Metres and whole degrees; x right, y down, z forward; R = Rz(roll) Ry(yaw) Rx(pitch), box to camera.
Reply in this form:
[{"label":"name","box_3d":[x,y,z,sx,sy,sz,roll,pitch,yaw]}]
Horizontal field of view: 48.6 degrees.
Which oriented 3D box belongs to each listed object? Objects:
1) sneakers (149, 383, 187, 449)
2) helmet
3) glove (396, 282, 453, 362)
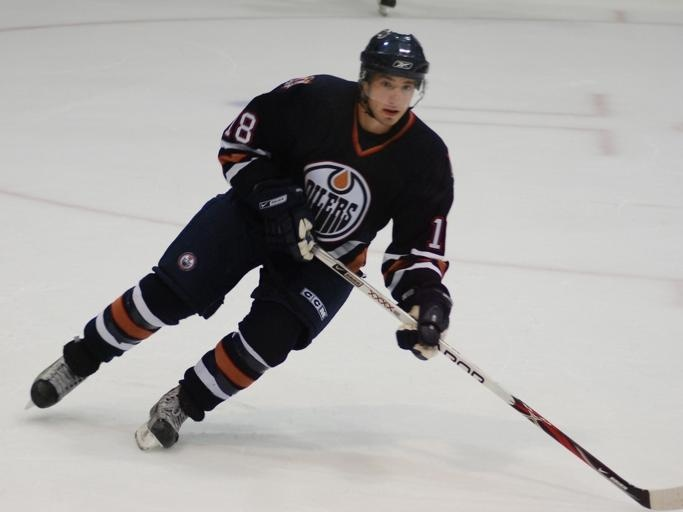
[{"label":"sneakers","box_3d":[-0.648,0.612,2.877,0.115,0.086,0.254,-32,18,1]},{"label":"helmet","box_3d":[0.226,-0.748,3.029,0.239,0.248,0.259,12,-2,-14]},{"label":"glove","box_3d":[0.328,0.256,2.968,0.186,0.237,0.235,11,29,8]}]
